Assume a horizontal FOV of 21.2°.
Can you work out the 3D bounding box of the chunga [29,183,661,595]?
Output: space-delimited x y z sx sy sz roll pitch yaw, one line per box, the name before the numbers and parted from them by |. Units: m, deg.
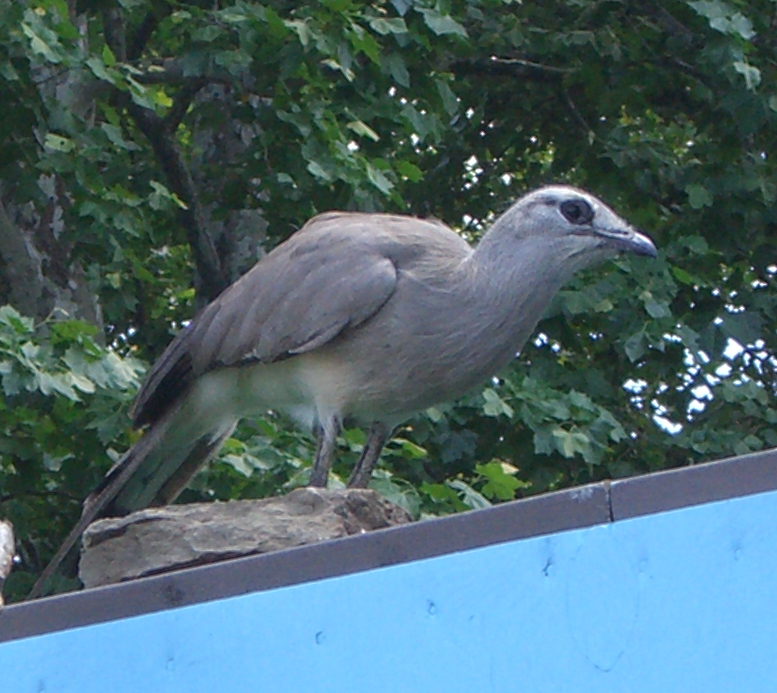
chunga | -0.237 0.274 8.164 2.605 1.611 0.972 -2 -15 26
